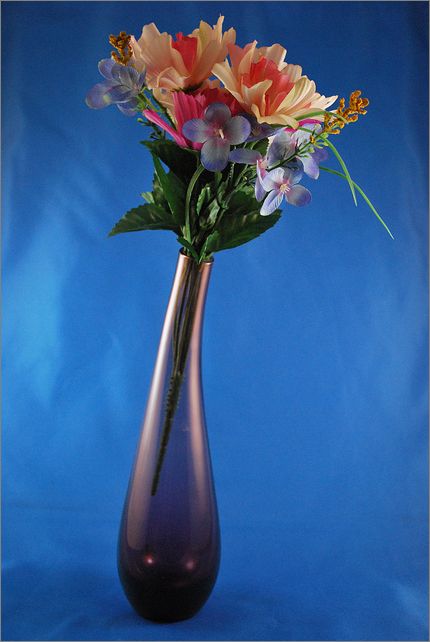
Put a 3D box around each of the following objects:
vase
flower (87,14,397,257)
[{"bbox_3d":[-0.051,0.157,0.775,0.128,0.485,0.062,2,4,-9],"label":"vase"},{"bbox_3d":[0.014,-0.192,0.679,0.295,0.258,0.164,4,4,12],"label":"flower"}]
